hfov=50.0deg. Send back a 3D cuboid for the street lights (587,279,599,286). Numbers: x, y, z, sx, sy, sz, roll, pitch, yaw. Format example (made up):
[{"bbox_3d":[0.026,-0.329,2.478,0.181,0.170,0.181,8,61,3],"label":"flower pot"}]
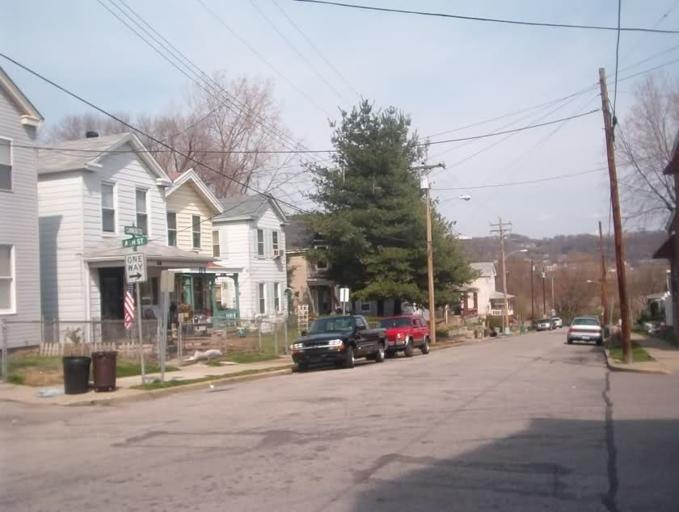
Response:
[{"bbox_3d":[37.071,3.751,106.770,0.468,0.800,2.592,28,-12,-14],"label":"street lights"}]

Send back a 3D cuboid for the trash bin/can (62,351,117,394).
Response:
[{"bbox_3d":[-6.285,2.952,18.380,1.246,1.024,0.528,-1,-7,-23],"label":"trash bin/can"}]

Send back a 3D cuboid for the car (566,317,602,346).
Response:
[{"bbox_3d":[12.665,3.913,37.829,1.015,0.924,2.446,-1,1,16],"label":"car"}]
